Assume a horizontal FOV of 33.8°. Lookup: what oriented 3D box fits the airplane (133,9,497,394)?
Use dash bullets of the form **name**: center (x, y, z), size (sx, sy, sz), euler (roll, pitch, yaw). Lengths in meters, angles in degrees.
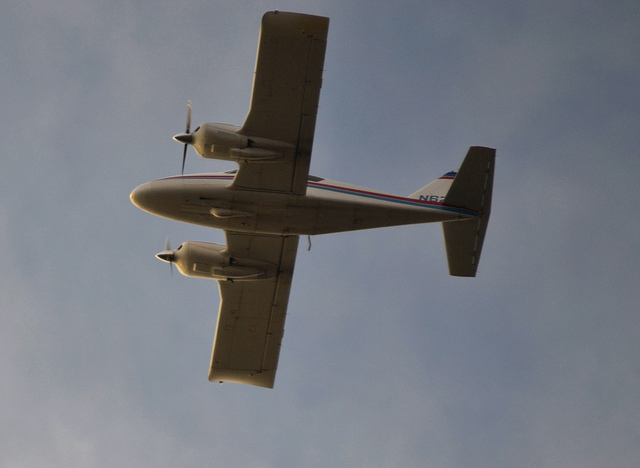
- **airplane**: center (0.285, -0.797, 32.789), size (10.337, 4.047, 13.798), euler (3, -58, -4)
